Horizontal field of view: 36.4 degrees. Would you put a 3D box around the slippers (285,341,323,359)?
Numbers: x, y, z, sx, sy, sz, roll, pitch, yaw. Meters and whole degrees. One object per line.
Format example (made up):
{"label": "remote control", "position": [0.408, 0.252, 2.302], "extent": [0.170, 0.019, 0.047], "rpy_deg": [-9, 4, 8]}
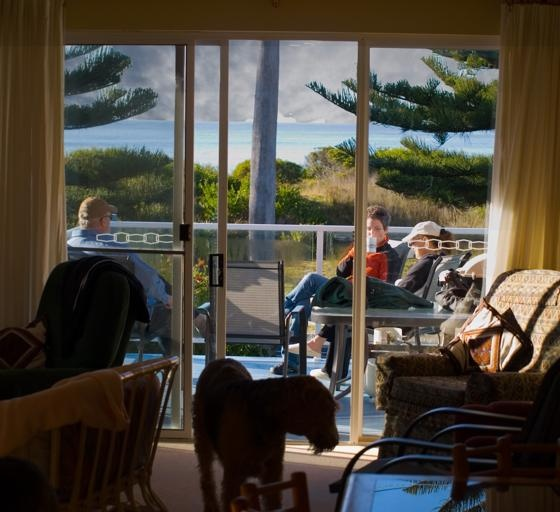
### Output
{"label": "slippers", "position": [0.175, 0.662, 6.083], "extent": [0.271, 0.128, 0.108], "rpy_deg": [12, -9, -15]}

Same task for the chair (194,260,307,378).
{"label": "chair", "position": [-0.181, 0.488, 5.682], "extent": [0.612, 1.013, 0.665], "rpy_deg": [0, 2, 7]}

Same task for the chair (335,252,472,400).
{"label": "chair", "position": [0.760, 0.390, 5.313], "extent": [0.775, 1.305, 0.707], "rpy_deg": [2, -2, 7]}

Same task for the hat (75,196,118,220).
{"label": "hat", "position": [-1.073, -0.313, 4.973], "extent": [0.169, 0.107, 0.124], "rpy_deg": [-19, 22, -32]}

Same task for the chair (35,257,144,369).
{"label": "chair", "position": [-0.857, 0.278, 4.151], "extent": [0.374, 0.466, 0.335], "rpy_deg": [7, -10, 23]}

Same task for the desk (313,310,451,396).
{"label": "desk", "position": [0.446, 0.578, 5.191], "extent": [0.544, 0.316, 0.561], "rpy_deg": [-11, -4, 35]}

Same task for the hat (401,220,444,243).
{"label": "hat", "position": [0.852, -0.147, 5.049], "extent": [0.176, 0.107, 0.125], "rpy_deg": [1, 0, 7]}

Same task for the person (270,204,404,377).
{"label": "person", "position": [0.335, 0.152, 5.195], "extent": [0.612, 0.934, 0.355], "rpy_deg": [4, 19, -2]}

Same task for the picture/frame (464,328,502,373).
{"label": "picture/frame", "position": [1.064, 0.506, 4.528], "extent": [0.202, 0.215, 0.215], "rpy_deg": [-4, 19, -1]}
